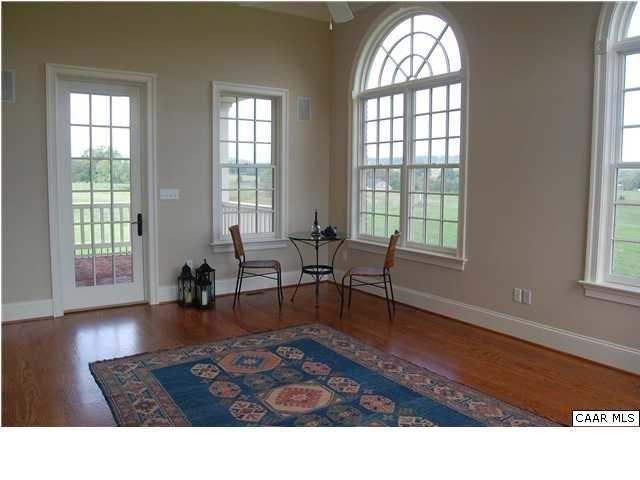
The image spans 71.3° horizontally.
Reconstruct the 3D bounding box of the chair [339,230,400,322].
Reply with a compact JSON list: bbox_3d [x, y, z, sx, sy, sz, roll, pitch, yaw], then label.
[{"bbox_3d":[0.615,0.404,5.520,0.668,0.983,0.579,2,5,18],"label":"chair"}]

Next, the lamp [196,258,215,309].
[{"bbox_3d":[-1.460,0.558,5.677,0.263,0.549,0.348,-4,8,-16],"label":"lamp"}]

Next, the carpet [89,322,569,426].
[{"bbox_3d":[-0.251,1.183,3.835,3.335,0.187,1.499,-2,7,0],"label":"carpet"}]

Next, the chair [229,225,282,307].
[{"bbox_3d":[-0.809,0.319,5.822,0.665,0.966,0.573,0,6,-8],"label":"chair"}]

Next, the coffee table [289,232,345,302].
[{"bbox_3d":[-0.030,0.370,6.199,0.745,0.823,0.806,-2,-3,22],"label":"coffee table"}]

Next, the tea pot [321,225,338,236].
[{"bbox_3d":[0.133,-0.121,5.990,0.159,0.074,0.170,5,-2,0],"label":"tea pot"}]
